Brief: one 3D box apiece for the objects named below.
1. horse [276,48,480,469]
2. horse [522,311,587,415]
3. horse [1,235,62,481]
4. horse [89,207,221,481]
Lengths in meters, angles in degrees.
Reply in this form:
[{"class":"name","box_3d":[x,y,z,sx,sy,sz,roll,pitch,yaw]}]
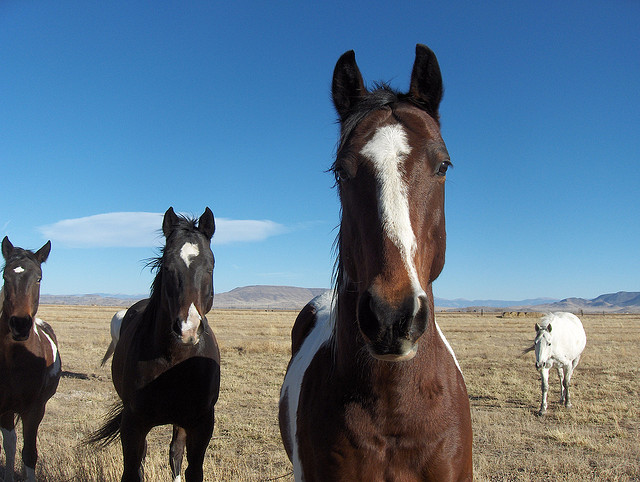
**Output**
[{"class":"horse","box_3d":[0.622,0.134,4.887,1.664,4.316,1.106,-1,-4,19]},{"class":"horse","box_3d":[6.904,3.409,13.803,1.226,2.548,3.935,-2,-7,30]},{"class":"horse","box_3d":[-5.141,2.054,8.365,0.966,4.238,2.304,3,-5,-30]},{"class":"horse","box_3d":[-2.290,1.685,7.084,1.525,4.529,2.524,3,-5,-26]}]
